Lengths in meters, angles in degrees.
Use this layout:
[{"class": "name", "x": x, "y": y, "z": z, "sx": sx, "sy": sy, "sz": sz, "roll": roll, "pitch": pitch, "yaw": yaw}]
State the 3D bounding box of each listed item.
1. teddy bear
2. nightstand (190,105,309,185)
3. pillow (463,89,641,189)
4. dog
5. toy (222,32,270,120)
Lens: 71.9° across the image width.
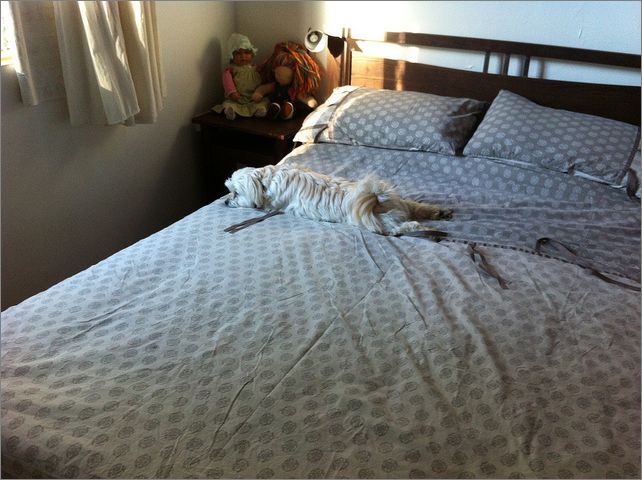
[{"class": "teddy bear", "x": -0.214, "y": -1.014, "z": 2.834, "sx": 0.466, "sy": 0.506, "sz": 0.295, "roll": 15, "pitch": 35, "yaw": 13}, {"class": "nightstand", "x": -0.541, "y": -0.501, "z": 2.956, "sx": 0.542, "sy": 0.507, "sz": 0.474, "roll": 6, "pitch": 10, "yaw": -15}, {"class": "pillow", "x": 1.135, "y": -0.450, "z": 2.175, "sx": 0.586, "sy": 0.102, "sz": 0.505, "roll": 15, "pitch": 52, "yaw": 22}, {"class": "dog", "x": -0.027, "y": -0.249, "z": 2.043, "sx": 1.155, "sy": 0.369, "sz": 0.350, "roll": 7, "pitch": 56, "yaw": 26}, {"class": "toy", "x": -0.490, "y": -1.034, "z": 2.793, "sx": 0.316, "sy": 0.479, "sz": 0.349, "roll": 30, "pitch": 42, "yaw": 33}]
